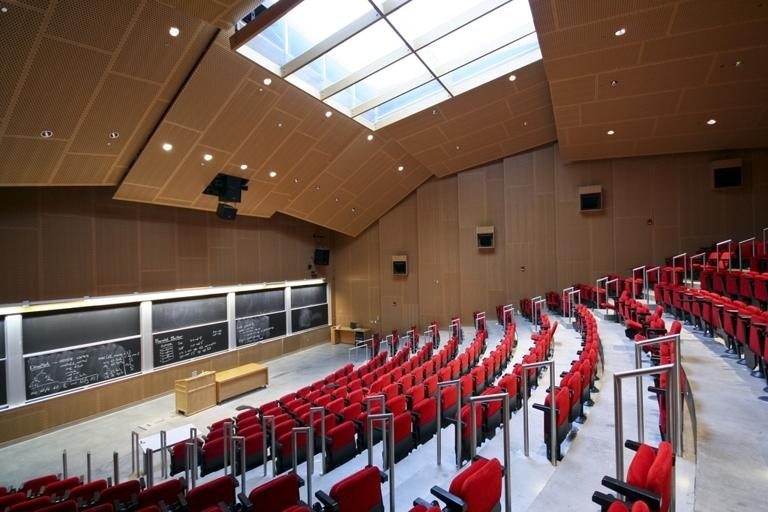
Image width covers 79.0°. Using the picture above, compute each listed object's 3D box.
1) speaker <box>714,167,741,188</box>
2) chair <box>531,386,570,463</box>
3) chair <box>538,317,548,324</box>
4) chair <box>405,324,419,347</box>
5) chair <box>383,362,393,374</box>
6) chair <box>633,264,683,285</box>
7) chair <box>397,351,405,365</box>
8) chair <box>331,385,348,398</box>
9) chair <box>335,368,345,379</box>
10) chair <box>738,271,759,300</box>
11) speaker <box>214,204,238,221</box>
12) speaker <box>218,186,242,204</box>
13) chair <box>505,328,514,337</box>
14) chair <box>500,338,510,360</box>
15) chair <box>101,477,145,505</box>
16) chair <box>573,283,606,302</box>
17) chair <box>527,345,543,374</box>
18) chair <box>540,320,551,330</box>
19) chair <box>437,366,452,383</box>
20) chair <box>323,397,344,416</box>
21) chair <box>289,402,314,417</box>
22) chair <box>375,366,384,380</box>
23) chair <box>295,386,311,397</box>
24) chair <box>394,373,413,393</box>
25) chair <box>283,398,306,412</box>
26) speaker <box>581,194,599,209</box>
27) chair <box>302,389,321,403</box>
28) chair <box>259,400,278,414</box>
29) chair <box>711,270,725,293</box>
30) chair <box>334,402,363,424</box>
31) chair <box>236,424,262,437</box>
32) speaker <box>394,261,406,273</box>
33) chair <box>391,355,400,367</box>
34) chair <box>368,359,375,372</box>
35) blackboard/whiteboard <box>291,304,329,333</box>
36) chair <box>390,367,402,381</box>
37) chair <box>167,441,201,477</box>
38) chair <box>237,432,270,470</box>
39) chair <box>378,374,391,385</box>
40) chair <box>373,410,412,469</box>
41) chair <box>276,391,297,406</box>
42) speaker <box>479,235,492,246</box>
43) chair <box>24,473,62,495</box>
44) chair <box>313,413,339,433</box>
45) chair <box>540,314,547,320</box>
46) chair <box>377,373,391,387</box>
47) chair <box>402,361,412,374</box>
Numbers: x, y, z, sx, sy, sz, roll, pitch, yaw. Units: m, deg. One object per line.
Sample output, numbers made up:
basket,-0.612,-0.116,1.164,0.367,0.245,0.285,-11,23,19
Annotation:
speaker,11.250,-2.583,15.306,0.653,0.652,0.318,-2,-5,35
chair,2.847,2.924,7.984,0.514,1.540,1.154,-2,-5,33
chair,4.573,1.856,13.494,0.327,0.172,0.470,0,2,19
chair,1.036,2.971,17.036,0.326,0.699,0.815,-5,-6,-1
chair,0.088,3.074,12.911,0.224,0.265,0.205,1,-6,-45
chair,8.742,0.586,14.773,1.311,0.581,0.964,0,-2,-25
chair,0.498,3.030,13.943,0.253,0.417,0.295,0,-1,34
chair,-1.025,3.067,10.860,0.187,0.322,0.348,-3,1,23
chair,-1.287,3.339,13.333,0.191,0.262,0.221,-3,-1,36
chair,8.531,0.700,11.014,0.554,0.587,0.493,4,0,-16
speaker,-4.817,-1.452,14.309,0.536,0.536,0.549,-5,37,-24
speaker,-4.571,-1.842,14.093,0.576,0.445,0.571,3,-2,37
chair,3.511,2.119,13.015,0.223,0.123,0.345,-16,-5,-5
chair,3.056,2.333,11.749,0.146,0.471,0.327,2,-12,13
chair,-4.605,4.231,8.266,0.504,0.587,0.489,4,5,41
chair,6.865,1.265,15.578,0.703,0.785,0.651,1,0,-44
chair,3.187,2.115,9.823,0.336,0.381,0.485,-1,-10,19
chair,4.344,1.865,12.596,0.245,0.216,0.429,0,5,15
chair,1.346,2.634,10.444,0.315,0.286,0.511,-6,-6,7
chair,-1.101,3.303,10.295,0.397,0.367,0.204,3,-10,-45
chair,-1.871,3.441,10.500,0.388,0.434,0.439,-8,-6,44
chair,-0.107,3.094,12.429,0.190,0.254,0.217,-5,-6,36
chair,-2.124,3.570,12.351,0.196,0.270,0.202,-3,-1,35
chair,0.427,2.855,10.611,0.418,0.403,0.320,-1,1,-43
chair,-2.117,3.519,11.067,0.235,0.305,0.270,0,-4,-44
speaker,7.363,-1.956,16.721,0.438,0.421,0.251,-9,-12,42
chair,-1.794,3.482,11.638,0.316,0.358,0.279,-5,-4,43
chair,-2.839,3.684,11.401,0.358,0.455,0.353,-1,-4,12
chair,8.646,0.665,12.097,0.282,0.385,0.613,-9,-7,34
chair,-0.743,3.189,9.652,0.392,0.528,0.494,1,-4,-33
chair,-2.845,3.706,9.921,0.297,0.267,0.234,-31,-24,30
speaker,0.640,0.455,19.500,0.569,0.538,0.265,-5,-6,1
chair,0.336,3.025,13.435,0.204,0.354,0.266,-1,5,27
chair,-0.386,3.204,13.609,0.166,0.281,0.208,-2,-2,31
blackboard/whiteboard,-3.049,2.515,19.123,0.254,0.989,2.317,-7,-6,24
chair,0.353,2.881,11.508,0.341,0.380,0.214,-1,-6,-32
chair,-4.165,4.249,9.846,0.535,0.688,1.148,0,-8,-38
chair,-2.687,4.013,9.616,0.360,0.739,0.305,-2,-6,-24
chair,0.022,2.914,11.044,0.198,0.262,0.261,-4,-3,44
chair,0.201,3.375,8.555,0.513,0.913,1.086,-6,-6,14
chair,-2.432,3.582,11.699,0.282,0.390,0.288,-3,-3,32
speaker,3.917,-0.606,18.101,0.411,0.419,0.401,-1,3,-28
chair,-6.972,4.611,9.456,0.417,0.468,0.372,-11,-6,29
chair,-1.204,3.369,9.558,0.393,0.452,0.403,3,-5,-38
chair,4.630,1.769,13.591,0.227,0.115,0.241,-1,-5,-14
chair,-0.009,2.918,11.016,0.243,0.274,0.202,-1,0,-44
chair,0.581,2.806,11.781,0.260,0.309,0.230,-1,-1,-38
